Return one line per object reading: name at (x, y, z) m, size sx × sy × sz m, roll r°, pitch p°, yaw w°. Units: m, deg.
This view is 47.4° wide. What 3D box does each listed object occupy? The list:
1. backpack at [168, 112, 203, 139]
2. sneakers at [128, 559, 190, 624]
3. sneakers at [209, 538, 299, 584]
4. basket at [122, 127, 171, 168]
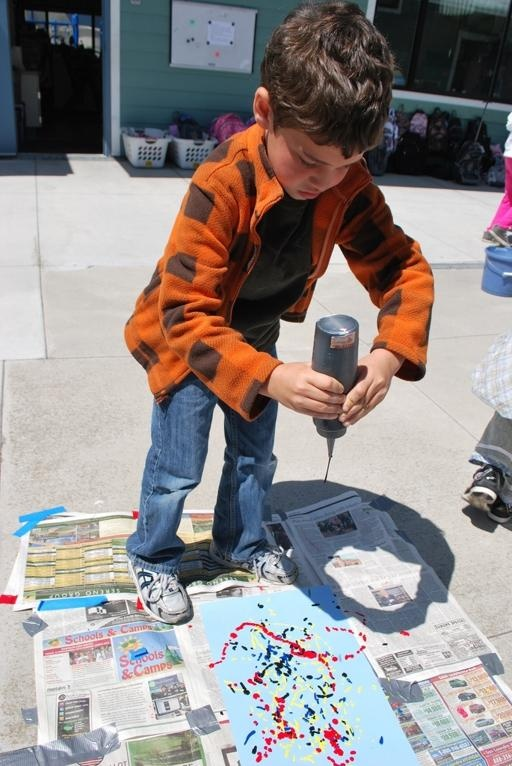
backpack at (-0.939, -3.392, 7.823) m, size 0.421 × 0.205 × 0.531 m, roll 9°, pitch 21°, yaw -7°
sneakers at (-0.273, 0.612, 1.739) m, size 0.215 × 0.095 × 0.095 m, roll 37°, pitch 20°, yaw 34°
sneakers at (-0.019, 0.582, 1.955) m, size 0.314 × 0.122 × 0.109 m, roll 10°, pitch 25°, yaw 13°
basket at (-1.473, -3.075, 7.770) m, size 0.567 × 0.304 × 0.696 m, roll -3°, pitch 36°, yaw -17°
